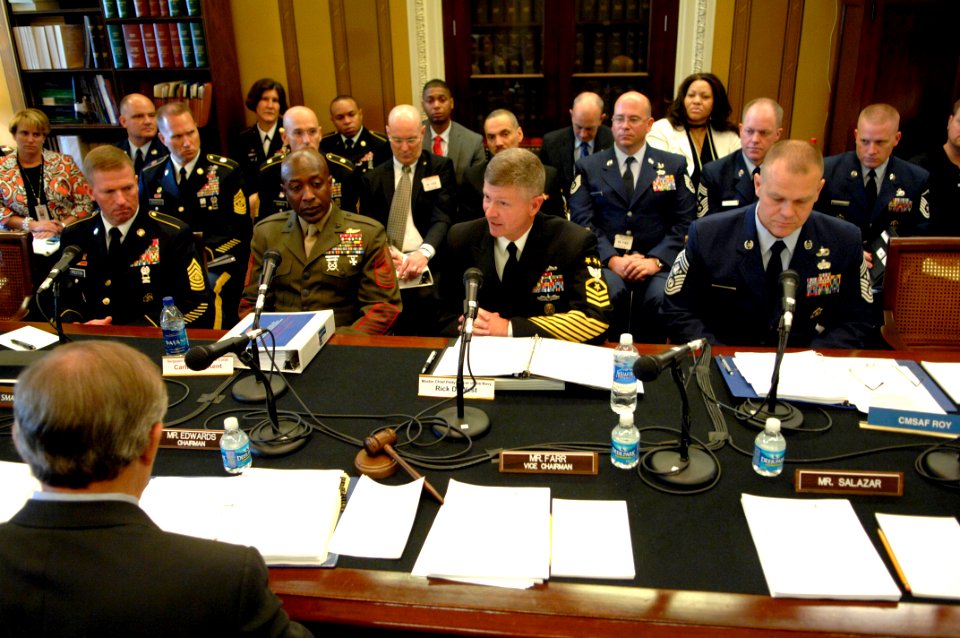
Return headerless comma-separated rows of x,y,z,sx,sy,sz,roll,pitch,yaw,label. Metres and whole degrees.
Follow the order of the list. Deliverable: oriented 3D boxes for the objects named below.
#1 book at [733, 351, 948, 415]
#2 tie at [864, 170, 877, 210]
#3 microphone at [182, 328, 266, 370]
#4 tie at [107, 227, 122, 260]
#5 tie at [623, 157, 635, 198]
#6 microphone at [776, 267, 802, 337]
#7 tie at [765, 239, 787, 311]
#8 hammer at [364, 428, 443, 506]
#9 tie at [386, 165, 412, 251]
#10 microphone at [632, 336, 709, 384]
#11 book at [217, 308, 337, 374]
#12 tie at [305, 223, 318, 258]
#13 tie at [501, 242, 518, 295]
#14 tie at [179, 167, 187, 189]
1.392,0.228,2.898,0.776,0.074,0.379,4,26,13,book
2.425,-0.802,4.581,0.065,0.228,0.083,3,26,11,tie
-0.864,0.075,2.651,0.099,0.089,0.495,-16,3,14,microphone
-1.878,-0.396,3.813,0.042,0.197,0.050,6,1,10,tie
0.964,-0.920,4.780,0.068,0.222,0.120,2,25,9,tie
1.152,-0.094,2.757,0.089,0.091,0.384,38,35,-4,microphone
1.308,-0.214,3.266,0.075,0.326,0.067,5,1,-2,tie
-0.262,0.528,2.573,0.281,0.326,0.200,-1,58,1,hammer
-0.536,-0.746,4.991,0.133,0.511,0.269,11,28,27,tie
0.682,0.105,2.549,0.107,0.111,0.564,-8,3,44,microphone
-0.866,0.078,3.162,0.294,0.085,0.327,3,24,10,book
-0.883,-0.412,3.884,0.091,0.161,0.043,4,-10,3,tie
0.152,-0.243,3.513,0.054,0.244,0.065,10,-4,16,tie
-2.079,-0.999,5.191,0.043,0.165,0.036,9,-14,-10,tie
